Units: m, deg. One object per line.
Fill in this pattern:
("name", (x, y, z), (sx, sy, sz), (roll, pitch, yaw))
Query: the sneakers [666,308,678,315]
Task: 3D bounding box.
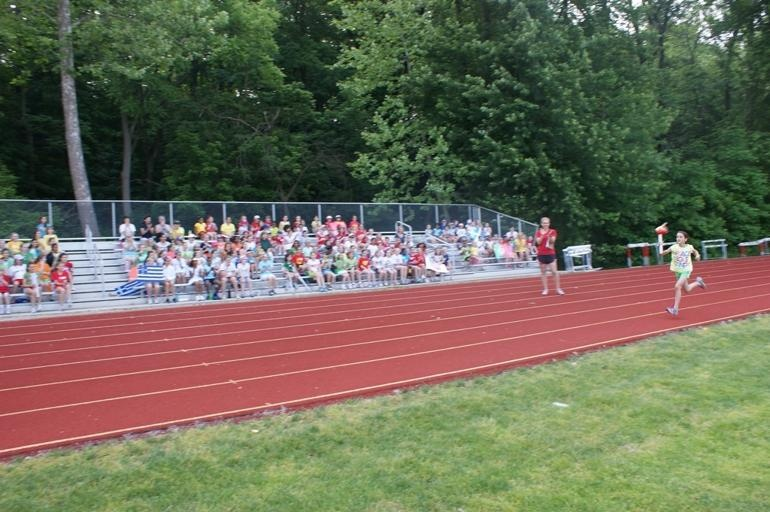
("sneakers", (8.698, 1.663, 24.953), (0.200, 0.200, 0.509), (32, 11, 2))
